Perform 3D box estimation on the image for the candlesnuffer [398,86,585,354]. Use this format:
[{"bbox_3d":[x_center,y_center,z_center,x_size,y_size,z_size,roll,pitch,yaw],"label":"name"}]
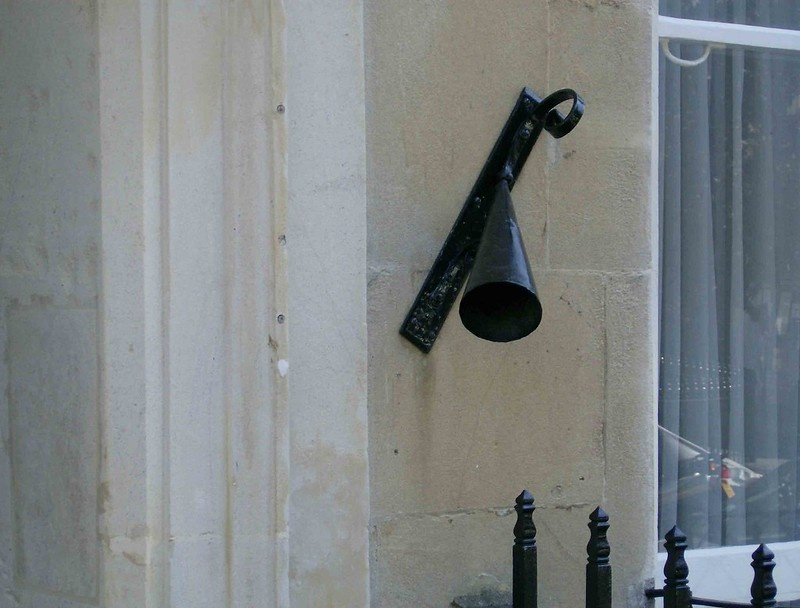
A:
[{"bbox_3d":[0.306,-0.273,7.035,0.476,0.894,0.442,7,1,-6],"label":"candlesnuffer"}]
